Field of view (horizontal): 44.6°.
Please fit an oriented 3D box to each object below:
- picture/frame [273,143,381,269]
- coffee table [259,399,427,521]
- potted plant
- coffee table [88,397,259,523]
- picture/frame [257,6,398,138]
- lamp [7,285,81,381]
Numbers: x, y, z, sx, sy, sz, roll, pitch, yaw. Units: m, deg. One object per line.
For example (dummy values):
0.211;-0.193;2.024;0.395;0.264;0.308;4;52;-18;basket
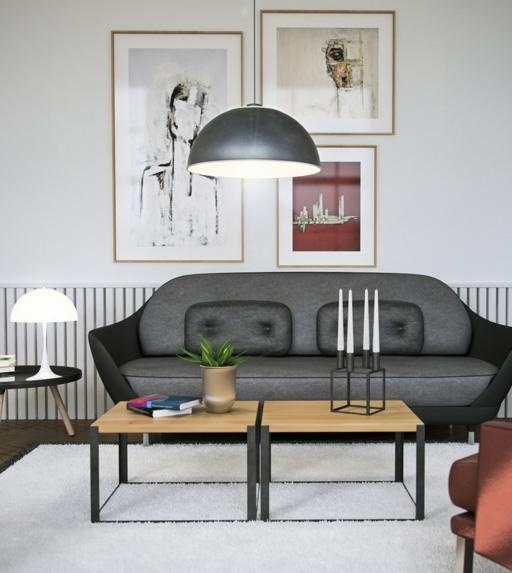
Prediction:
0.431;-0.466;3.588;0.748;0.902;0.057;0;-1;0;picture/frame
0.292;0.611;2.273;0.564;0.332;0.423;0;3;-1;coffee table
-0.151;0.307;2.357;0.308;0.318;0.244;1;-6;-6;potted plant
-0.288;0.616;2.244;0.590;0.334;0.374;0;3;2;coffee table
0.418;-1.264;3.617;1.099;0.946;0.041;1;4;1;picture/frame
-1.133;0.249;3.197;0.406;0.562;0.421;3;-6;-23;lamp
